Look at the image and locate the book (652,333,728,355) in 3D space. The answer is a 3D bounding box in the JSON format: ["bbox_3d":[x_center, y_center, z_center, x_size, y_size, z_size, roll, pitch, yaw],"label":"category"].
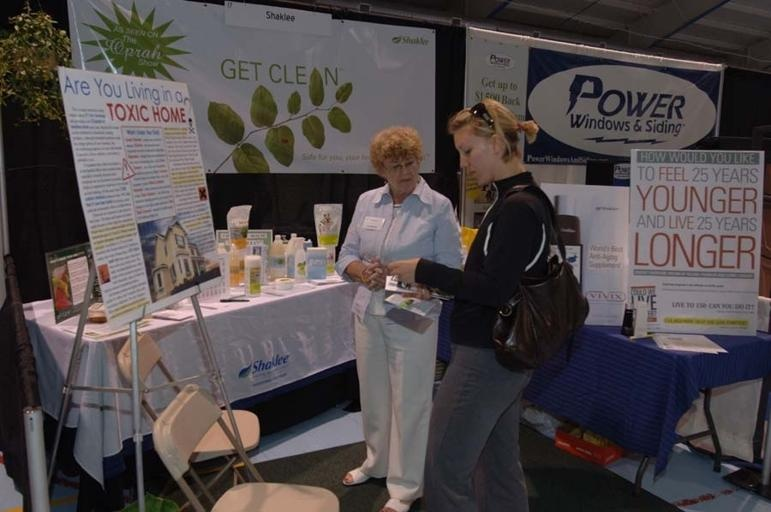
[{"bbox_3d":[1.742,0.504,3.312,0.390,0.054,0.265,-1,10,-10],"label":"book"}]

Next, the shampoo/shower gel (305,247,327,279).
[{"bbox_3d":[-0.484,0.028,4.129,0.187,0.232,0.143,-5,18,-25],"label":"shampoo/shower gel"}]

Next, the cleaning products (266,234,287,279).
[{"bbox_3d":[-0.708,0.001,4.003,0.157,0.307,0.163,-3,6,14],"label":"cleaning products"}]

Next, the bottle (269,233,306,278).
[{"bbox_3d":[-0.689,-0.002,3.998,0.274,0.384,0.140,-3,9,-31],"label":"bottle"}]

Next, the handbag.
[{"bbox_3d":[0.694,0.081,2.605,0.598,0.804,0.289,-21,17,-37],"label":"handbag"}]

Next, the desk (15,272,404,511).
[{"bbox_3d":[-1.473,0.540,4.340,1.775,0.873,3.039,15,8,25],"label":"desk"}]

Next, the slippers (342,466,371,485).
[{"bbox_3d":[-0.178,1.352,3.521,0.175,0.067,0.084,6,-6,-22],"label":"slippers"}]

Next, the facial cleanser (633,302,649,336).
[{"bbox_3d":[1.526,0.358,3.368,0.031,0.218,0.083,14,-10,-36],"label":"facial cleanser"}]

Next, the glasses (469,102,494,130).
[{"bbox_3d":[0.448,-0.659,2.612,0.040,0.121,0.102,-42,34,-12],"label":"glasses"}]

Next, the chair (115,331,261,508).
[{"bbox_3d":[-1.025,0.923,3.159,0.740,1.030,0.548,-4,10,-17],"label":"chair"}]
